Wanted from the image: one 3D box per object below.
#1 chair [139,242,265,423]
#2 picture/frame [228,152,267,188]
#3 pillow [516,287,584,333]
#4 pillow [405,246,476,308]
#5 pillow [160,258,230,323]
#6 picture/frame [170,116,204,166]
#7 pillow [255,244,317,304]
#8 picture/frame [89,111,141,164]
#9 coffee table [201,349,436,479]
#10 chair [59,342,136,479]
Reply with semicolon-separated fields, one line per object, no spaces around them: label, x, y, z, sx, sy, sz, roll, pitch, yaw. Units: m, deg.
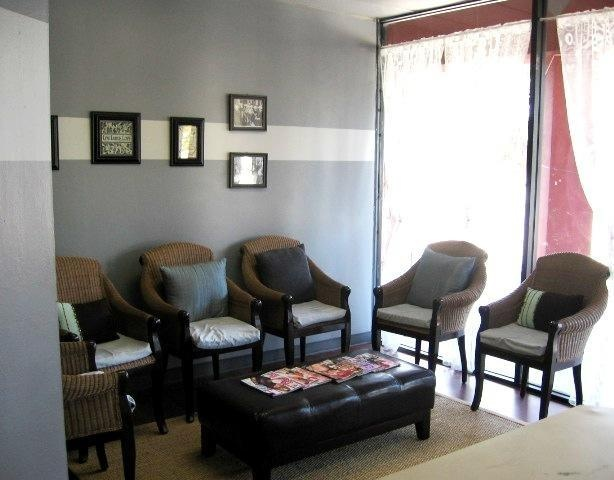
chair;-0.698;0.636;4.492;1.044;1.685;1.166;-3;4;-40
picture/frame;-0.553;-0.626;4.590;0.295;0.273;0.032;-4;9;-36
pillow;1.837;0.553;3.947;0.163;0.319;0.465;10;-5;-19
pillow;1.165;0.381;4.580;0.291;0.553;0.584;5;5;-34
pillow;-0.874;0.441;4.175;0.513;0.515;0.191;-8;3;-32
picture/frame;-1.014;-0.829;4.266;0.365;0.533;0.051;-3;6;-39
pillow;-0.164;0.324;4.628;0.510;0.486;0.240;-17;17;-37
picture/frame;-1.505;-0.797;3.964;0.029;0.419;0.381;3;5;42
coffee table;0.095;1.134;3.213;1.440;0.489;0.505;-3;9;-23
chair;-1.155;1.001;2.850;0.349;0.835;0.478;-4;9;-26
